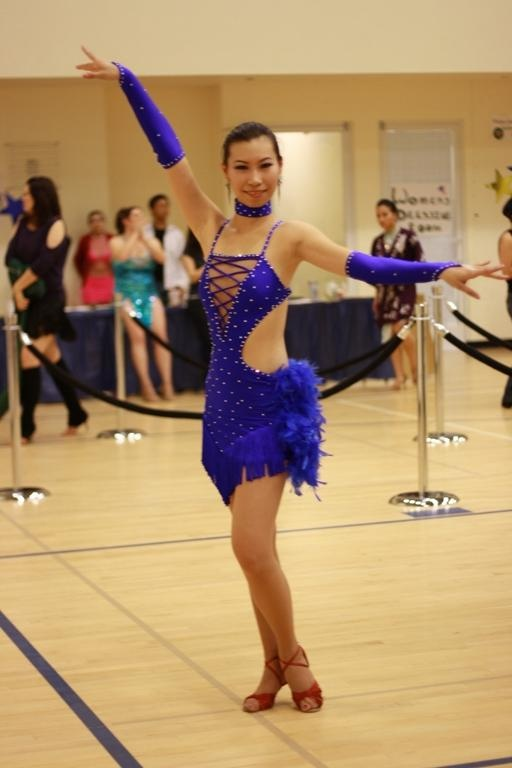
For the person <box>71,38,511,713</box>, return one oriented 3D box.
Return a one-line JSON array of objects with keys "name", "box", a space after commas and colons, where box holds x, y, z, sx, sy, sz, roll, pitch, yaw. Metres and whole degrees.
[{"name": "person", "box": [0.023, -0.016, 1.598, 0.885, 1.492, 0.297, 0, 5, 35]}]
